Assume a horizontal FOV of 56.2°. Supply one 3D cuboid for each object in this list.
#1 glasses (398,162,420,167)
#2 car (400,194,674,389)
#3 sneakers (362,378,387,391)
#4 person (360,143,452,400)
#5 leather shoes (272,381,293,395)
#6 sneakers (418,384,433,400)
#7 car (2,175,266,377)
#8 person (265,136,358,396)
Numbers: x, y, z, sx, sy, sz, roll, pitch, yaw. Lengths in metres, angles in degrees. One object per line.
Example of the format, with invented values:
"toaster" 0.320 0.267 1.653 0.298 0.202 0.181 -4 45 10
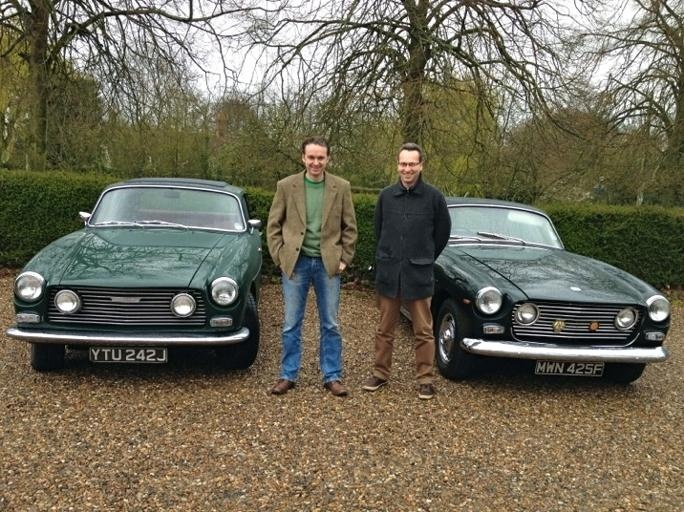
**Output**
"glasses" 0.692 -0.934 6.550 0.185 0.050 0.063 5 10 14
"car" 2.103 0.260 8.073 1.685 1.389 3.228 2 3 -4
"sneakers" 0.327 1.357 6.777 0.104 0.112 0.273 -3 -9 31
"person" 0.685 0.140 6.648 0.804 2.565 0.471 4 9 11
"leather shoes" -0.613 1.355 6.605 0.080 0.112 0.253 -5 -12 23
"sneakers" 0.866 1.395 6.604 0.152 0.137 0.118 3 10 4
"car" -2.080 0.114 7.302 1.655 1.249 2.865 2 6 1
"person" -0.319 0.106 6.561 0.911 2.581 0.440 2 8 -3
